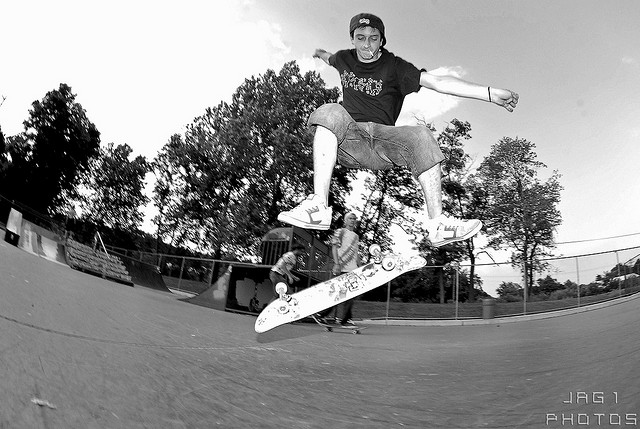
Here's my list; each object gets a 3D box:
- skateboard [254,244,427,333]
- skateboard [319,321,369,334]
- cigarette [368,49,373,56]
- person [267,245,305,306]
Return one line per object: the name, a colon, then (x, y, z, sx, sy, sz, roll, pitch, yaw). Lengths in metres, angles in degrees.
skateboard: (0.197, 0.652, 3.615, 1.287, 0.314, 0.191, -23, 2, -1)
skateboard: (0.179, 0.886, 3.308, 0.369, 0.069, 0.112, 2, -9, 11)
cigarette: (0.455, -1.469, 3.834, 0.013, 0.009, 0.048, -33, -55, 14)
person: (-0.327, 0.566, 3.909, 0.300, 0.262, 0.740, -1, -38, 5)
